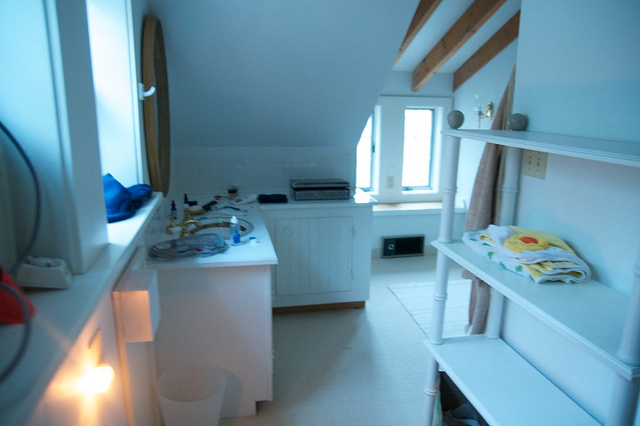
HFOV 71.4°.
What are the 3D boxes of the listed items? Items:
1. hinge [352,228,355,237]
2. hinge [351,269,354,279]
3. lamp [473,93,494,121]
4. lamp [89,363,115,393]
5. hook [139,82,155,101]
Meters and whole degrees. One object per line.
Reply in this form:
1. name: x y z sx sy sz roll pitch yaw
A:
1. hinge: 0.267 0.151 3.586 0.017 0.067 0.006 -1 16 -9
2. hinge: 0.266 0.503 3.664 0.024 0.069 0.009 2 16 -1
3. lamp: 1.575 -1.018 4.326 0.179 0.248 0.126 3 8 39
4. lamp: -0.716 0.540 1.458 0.058 0.079 0.058 3 16 4
5. hook: -0.904 -0.633 2.315 0.071 0.084 0.046 -2 16 -13
